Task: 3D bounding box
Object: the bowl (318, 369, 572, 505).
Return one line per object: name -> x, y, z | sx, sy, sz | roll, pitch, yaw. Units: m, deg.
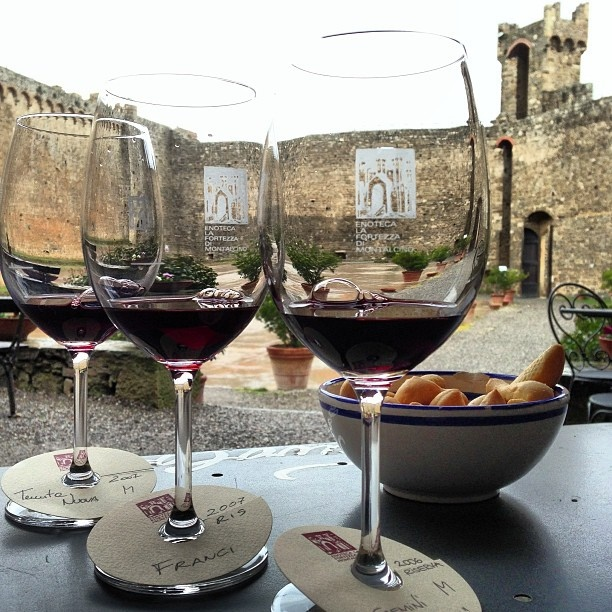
bowl -> 0.142, 0.135, 0.684 | 0.223, 0.063, 0.182 | 0, -3, 3
